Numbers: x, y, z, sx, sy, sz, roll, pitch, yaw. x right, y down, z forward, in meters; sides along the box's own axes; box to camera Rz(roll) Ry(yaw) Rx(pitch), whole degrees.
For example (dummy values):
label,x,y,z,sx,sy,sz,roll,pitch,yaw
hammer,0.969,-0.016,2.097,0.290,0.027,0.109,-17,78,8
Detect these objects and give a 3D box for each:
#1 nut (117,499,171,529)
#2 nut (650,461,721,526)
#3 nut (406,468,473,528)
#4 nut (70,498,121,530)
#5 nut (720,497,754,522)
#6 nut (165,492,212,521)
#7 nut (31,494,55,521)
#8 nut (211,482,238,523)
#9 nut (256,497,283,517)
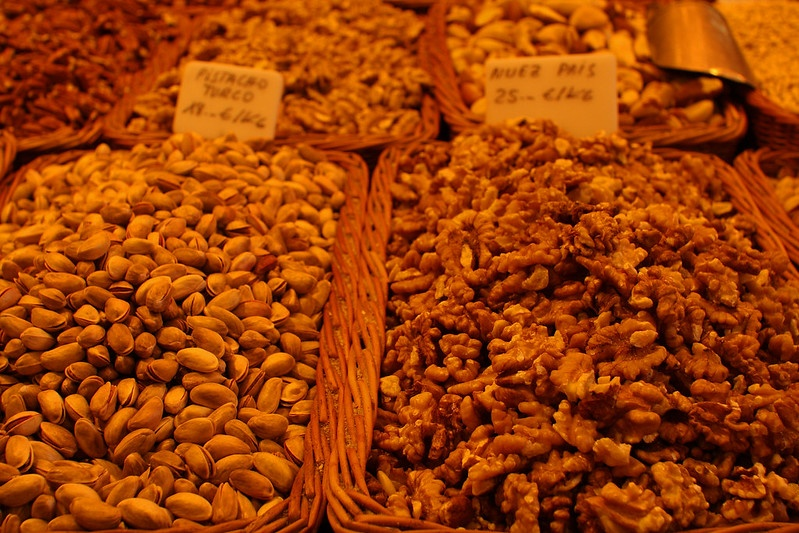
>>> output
label,x,y,z,sx,sy,sz,roll,pitch,yaw
nut,-0.621,0.600,1.627,0.109,0.063,0.067,16,37,-5
nut,0.683,0.546,1.601,0.108,0.037,0.161,-22,71,-14
nut,0.090,0.586,1.681,0.193,0.051,0.106,27,47,28
nut,-0.734,0.599,1.616,0.106,0.059,0.070,27,67,-1
nut,0.825,0.589,1.626,0.074,0.039,0.041,-1,39,-2
nut,-0.526,0.596,1.664,0.094,0.065,0.034,17,32,8
nut,-0.877,0.591,1.645,0.052,0.065,0.033,6,-2,-27
nut,-0.439,0.582,1.649,0.055,0.029,0.082,-4,66,-6
nut,-0.332,0.605,1.697,0.032,0.016,0.055,-7,22,47
